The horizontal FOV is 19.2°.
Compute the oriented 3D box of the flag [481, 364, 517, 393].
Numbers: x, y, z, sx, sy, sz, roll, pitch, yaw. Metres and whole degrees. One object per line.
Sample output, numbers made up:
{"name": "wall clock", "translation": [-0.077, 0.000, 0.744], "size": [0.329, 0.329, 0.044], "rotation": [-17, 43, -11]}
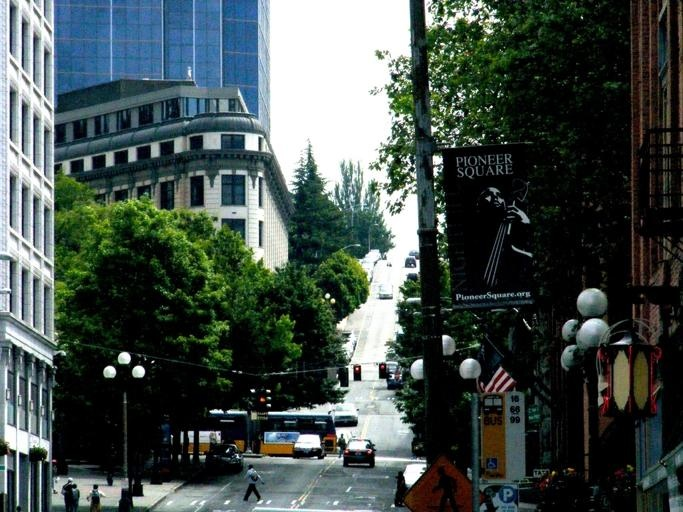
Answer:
{"name": "flag", "translation": [5.902, 4.554, 75.987], "size": [0.872, 0.842, 0.092], "rotation": [-49, -21, 9]}
